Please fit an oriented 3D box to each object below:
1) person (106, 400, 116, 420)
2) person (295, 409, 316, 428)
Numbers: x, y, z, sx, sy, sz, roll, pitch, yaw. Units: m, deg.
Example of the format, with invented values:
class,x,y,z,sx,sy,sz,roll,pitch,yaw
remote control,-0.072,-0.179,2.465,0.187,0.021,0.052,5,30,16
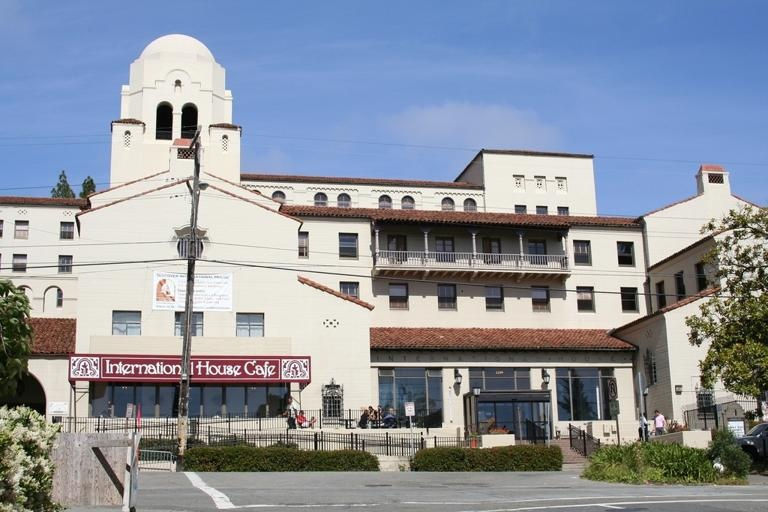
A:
class,x,y,z,sx,sy,sz,roll,pitch,yaw
person,-16.891,9.367,68.969,0.501,0.934,0.247,3,-15,-12
person,-4.851,10.138,69.117,1.111,1.098,0.898,-6,-9,25
